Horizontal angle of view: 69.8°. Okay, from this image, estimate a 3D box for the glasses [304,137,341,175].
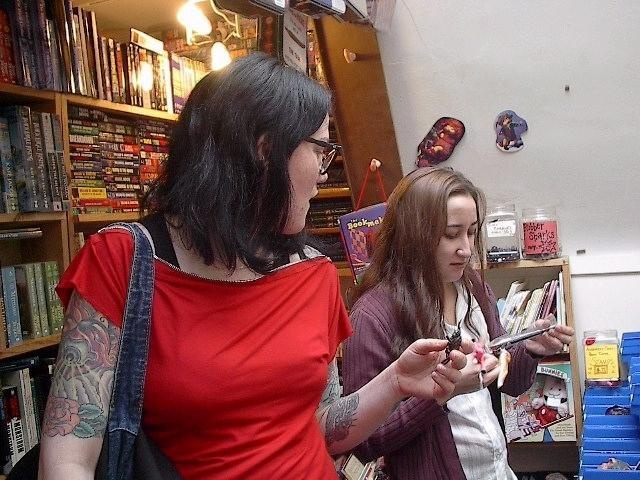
[{"bbox_3d":[0.008,-0.206,1.106,0.081,0.029,0.085,2,-2,6],"label":"glasses"}]

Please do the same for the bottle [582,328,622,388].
[{"bbox_3d":[1.531,0.591,2.533,0.186,0.350,0.217,-10,20,14],"label":"bottle"}]

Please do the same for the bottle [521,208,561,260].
[{"bbox_3d":[1.335,-0.052,2.777,0.201,0.325,0.226,-4,7,21],"label":"bottle"}]

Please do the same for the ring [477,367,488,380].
[{"bbox_3d":[0.391,0.325,1.106,0.012,0.023,0.011,20,-6,2],"label":"ring"}]
